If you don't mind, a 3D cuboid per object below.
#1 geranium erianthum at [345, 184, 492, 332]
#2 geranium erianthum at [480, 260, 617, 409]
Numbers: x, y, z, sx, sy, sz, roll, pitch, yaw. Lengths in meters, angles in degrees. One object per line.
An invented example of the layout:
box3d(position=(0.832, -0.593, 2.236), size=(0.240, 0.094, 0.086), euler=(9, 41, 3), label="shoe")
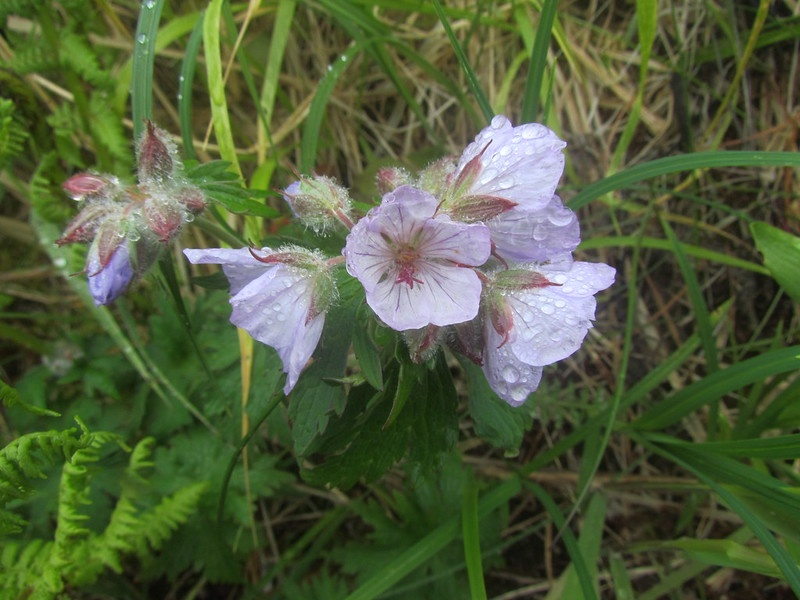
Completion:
box3d(position=(0.052, -0.127, 2.538), size=(0.468, 0.413, 0.260), euler=(15, -25, 6), label="geranium erianthum")
box3d(position=(0.526, 0.031, 2.721), size=(0.202, 0.537, 0.586), euler=(10, 17, -20), label="geranium erianthum")
